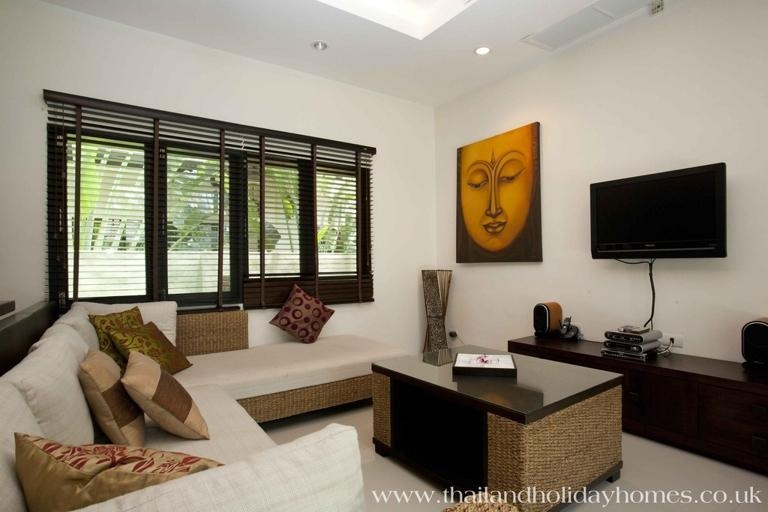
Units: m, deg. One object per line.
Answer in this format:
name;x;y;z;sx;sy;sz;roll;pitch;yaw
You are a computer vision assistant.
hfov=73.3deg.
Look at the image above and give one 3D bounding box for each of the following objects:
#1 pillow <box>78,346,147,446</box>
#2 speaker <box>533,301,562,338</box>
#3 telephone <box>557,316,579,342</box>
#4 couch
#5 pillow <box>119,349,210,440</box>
pillow;-1.690;0.894;3.228;0.351;0.607;0.239;0;2;-17
speaker;1.615;0.627;5.118;0.237;0.337;0.197;-1;2;-31
telephone;1.814;0.720;5.077;0.212;0.224;0.195;-3;1;-43
couch;-1.358;0.933;3.472;1.524;0.585;1.434;-2;5;-30
pillow;-1.472;0.976;3.568;0.483;0.519;0.741;-6;9;-21
